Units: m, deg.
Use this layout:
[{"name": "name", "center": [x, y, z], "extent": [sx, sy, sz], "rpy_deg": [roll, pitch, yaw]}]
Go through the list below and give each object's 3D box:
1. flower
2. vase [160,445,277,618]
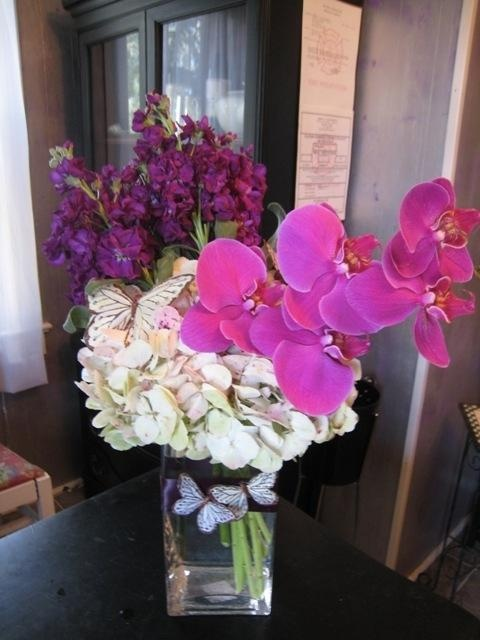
[{"name": "flower", "center": [-0.020, 0.055, 0.517], "extent": [0.307, 0.554, 0.366], "rpy_deg": [-7, 22, -20]}, {"name": "vase", "center": [-0.026, 0.237, 0.592], "extent": [0.134, 0.171, 0.131], "rpy_deg": [6, -11, -36]}]
